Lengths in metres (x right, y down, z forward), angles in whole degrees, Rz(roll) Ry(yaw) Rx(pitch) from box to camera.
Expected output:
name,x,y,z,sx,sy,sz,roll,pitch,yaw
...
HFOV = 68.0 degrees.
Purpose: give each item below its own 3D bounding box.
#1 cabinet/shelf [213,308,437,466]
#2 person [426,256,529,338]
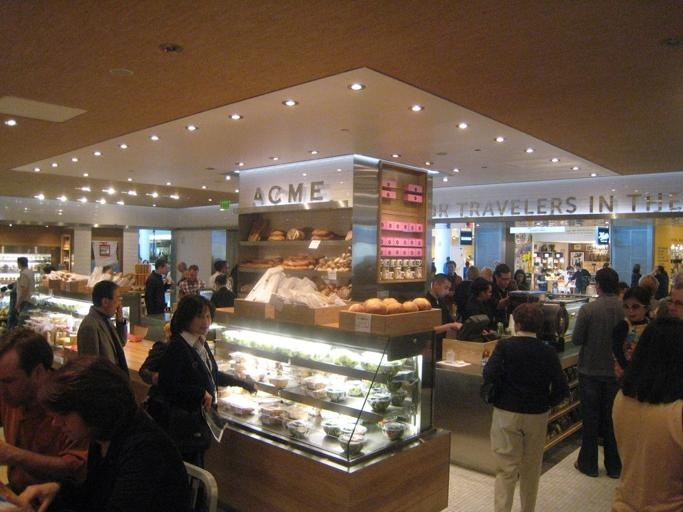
name,x,y,z,sx,sy,sz,roll,pitch,yaw
cabinet/shelf,-0.329,1.036,4.429,1.135,0.814,2.185,4,-4,-45
person,1.660,0.488,6.644,1.233,1.420,0.929,-2,0,31
